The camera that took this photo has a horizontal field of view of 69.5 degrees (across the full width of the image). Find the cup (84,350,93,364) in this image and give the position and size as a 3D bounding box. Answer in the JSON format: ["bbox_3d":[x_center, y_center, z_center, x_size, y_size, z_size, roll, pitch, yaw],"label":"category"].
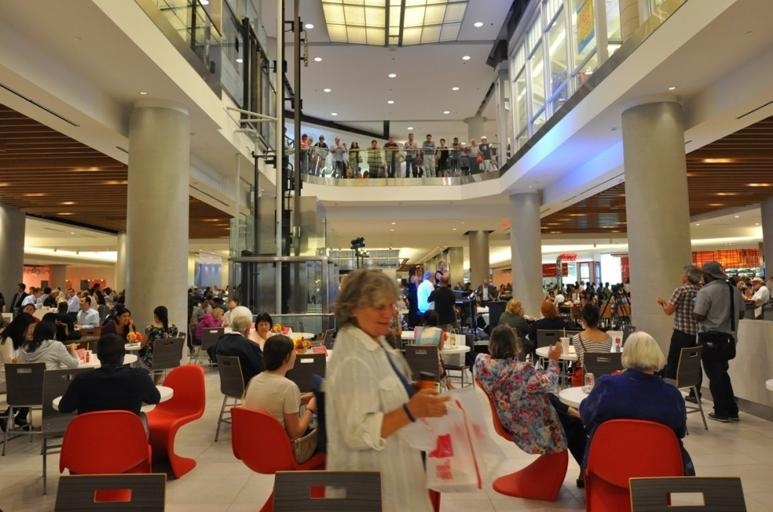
[{"bbox_3d":[-4.233,1.432,7.888,0.120,0.221,0.120,0,0,0],"label":"cup"}]

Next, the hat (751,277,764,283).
[{"bbox_3d":[11.848,0.757,17.764,0.378,0.144,0.491,1,-2,14],"label":"hat"}]

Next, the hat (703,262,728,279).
[{"bbox_3d":[4.726,0.204,8.006,0.226,0.154,0.309,-1,7,-15],"label":"hat"}]

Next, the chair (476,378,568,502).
[{"bbox_3d":[1.744,2.164,6.608,1.109,1.469,0.848,-3,-3,0],"label":"chair"}]
